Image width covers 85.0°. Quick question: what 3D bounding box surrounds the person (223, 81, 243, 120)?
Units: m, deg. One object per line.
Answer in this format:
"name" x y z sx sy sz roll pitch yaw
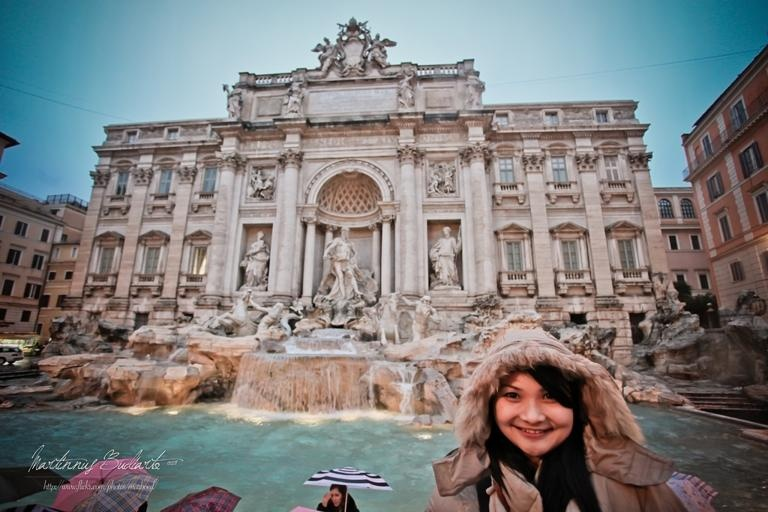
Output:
"person" -9.803 -9.813 27.009 1.147 2.803 0.868 -11 -22 3

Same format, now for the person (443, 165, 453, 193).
"person" 3.911 -4.457 25.031 0.648 1.643 0.581 2 7 6

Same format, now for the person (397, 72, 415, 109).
"person" 1.367 -10.011 25.530 1.043 2.475 1.382 1 6 2

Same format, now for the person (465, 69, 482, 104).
"person" 5.468 -10.133 25.450 1.076 2.545 1.265 2 6 9
